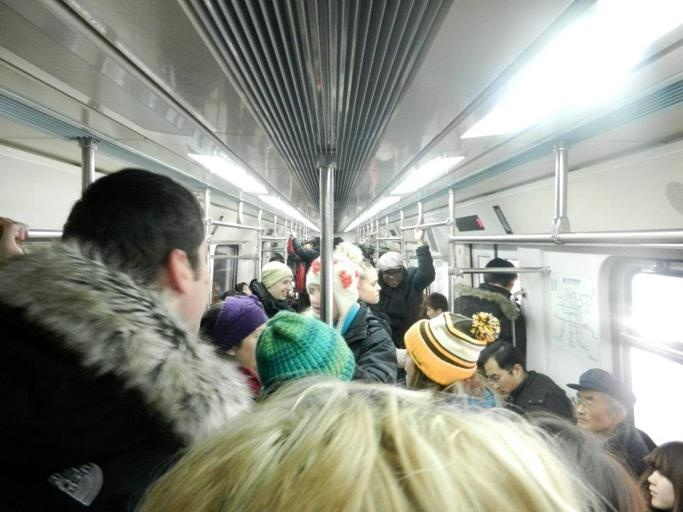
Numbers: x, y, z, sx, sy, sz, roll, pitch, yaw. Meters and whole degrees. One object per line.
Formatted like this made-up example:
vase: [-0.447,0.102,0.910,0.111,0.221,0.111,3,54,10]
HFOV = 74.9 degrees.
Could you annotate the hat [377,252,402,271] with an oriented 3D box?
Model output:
hat: [0.500,0.047,4.614,0.171,0.182,0.229,-10,-17,-7]

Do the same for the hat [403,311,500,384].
hat: [0.620,0.486,2.714,0.475,0.415,0.368,30,10,30]

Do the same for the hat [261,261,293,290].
hat: [-0.684,0.201,4.803,0.300,0.250,0.232,11,-1,-15]

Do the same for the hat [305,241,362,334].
hat: [0.005,0.198,3.082,0.418,0.554,0.545,6,-13,4]

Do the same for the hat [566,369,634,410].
hat: [1.950,1.018,3.345,0.379,0.131,0.258,20,-5,5]
